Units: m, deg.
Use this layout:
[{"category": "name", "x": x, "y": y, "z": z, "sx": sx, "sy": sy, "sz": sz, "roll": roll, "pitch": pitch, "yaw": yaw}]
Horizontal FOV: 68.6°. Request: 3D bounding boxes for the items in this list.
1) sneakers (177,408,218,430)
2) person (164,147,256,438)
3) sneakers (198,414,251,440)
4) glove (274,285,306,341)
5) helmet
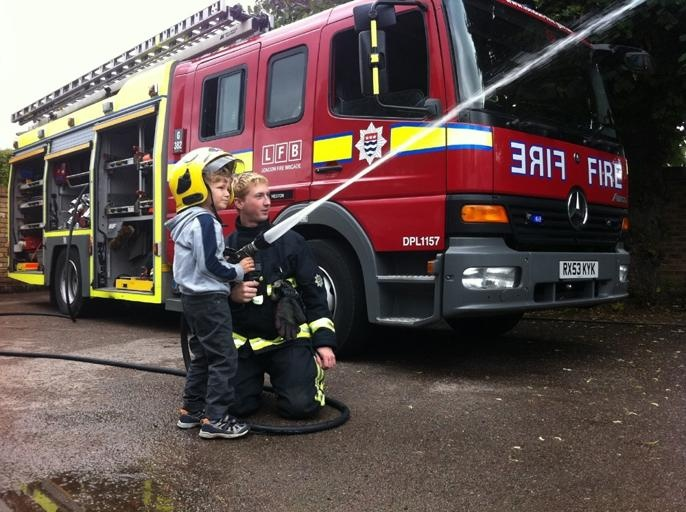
[{"category": "sneakers", "x": -0.906, "y": 1.042, "z": 3.244, "sx": 0.285, "sy": 0.122, "sz": 0.095, "roll": 3, "pitch": -1, "yaw": -44}, {"category": "person", "x": -0.816, "y": 0.197, "z": 3.158, "sx": 0.510, "sy": 1.810, "sz": 0.398, "roll": -1, "pitch": 1, "yaw": -20}, {"category": "sneakers", "x": -0.719, "y": 1.053, "z": 3.101, "sx": 0.314, "sy": 0.147, "sz": 0.123, "roll": 2, "pitch": -6, "yaw": -13}, {"category": "glove", "x": -0.365, "y": 0.383, "z": 3.410, "sx": 0.214, "sy": 0.335, "sz": 0.131, "roll": -3, "pitch": -18, "yaw": -21}, {"category": "helmet", "x": -0.914, "y": -0.512, "z": 3.291, "sx": 0.470, "sy": 0.349, "sz": 0.344, "roll": -11, "pitch": 1, "yaw": 4}]
